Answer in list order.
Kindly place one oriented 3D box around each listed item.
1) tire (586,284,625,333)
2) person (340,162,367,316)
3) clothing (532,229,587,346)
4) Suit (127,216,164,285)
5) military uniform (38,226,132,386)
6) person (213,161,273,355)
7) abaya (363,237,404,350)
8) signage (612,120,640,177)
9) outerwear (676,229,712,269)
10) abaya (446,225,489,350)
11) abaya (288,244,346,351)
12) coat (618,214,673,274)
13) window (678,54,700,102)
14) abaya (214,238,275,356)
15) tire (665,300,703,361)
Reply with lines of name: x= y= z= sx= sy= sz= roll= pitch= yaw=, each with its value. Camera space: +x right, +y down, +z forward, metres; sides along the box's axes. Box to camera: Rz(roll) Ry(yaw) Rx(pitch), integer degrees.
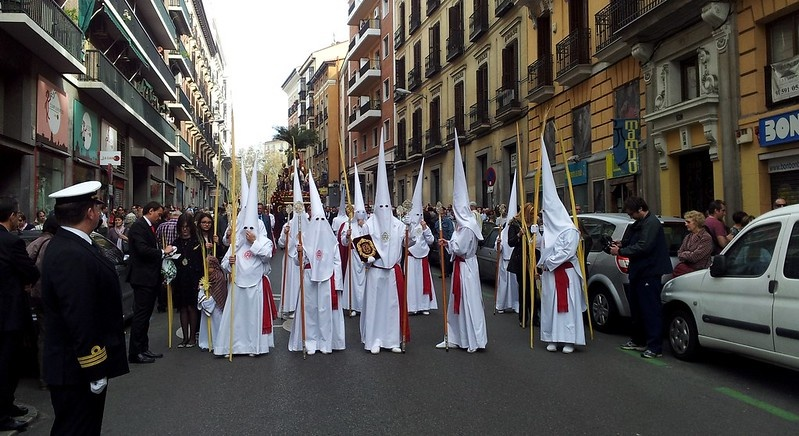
tire: x=5.178 y=2.285 z=15.271 sx=0.365 sy=1.044 sz=1.022 roll=3 pitch=-7 yaw=-12
person: x=-1.365 y=0.644 z=16.620 sx=0.658 sy=3.008 sz=0.519 roll=-1 pitch=21 yaw=-1
clothing: x=3.840 y=1.674 z=14.299 sx=1.103 sy=2.806 sz=0.789 roll=2 pitch=13 yaw=12
Suit: x=-5.949 y=0.823 z=14.325 sx=0.839 sy=1.546 sz=1.163 roll=3 pitch=-4 yaw=-10
military uniform: x=-5.484 y=1.497 z=10.623 sx=1.234 sy=2.500 sz=2.571 roll=-4 pitch=3 yaw=-31
person: x=-3.701 y=1.117 z=14.689 sx=1.397 sy=4.289 sz=1.132 roll=2 pitch=-14 yaw=-9
abaya: x=-0.386 y=2.101 z=14.526 sx=0.950 sy=1.914 sz=0.961 roll=0 pitch=13 yaw=0
signage: x=8.454 y=-2.649 z=22.559 sx=0.984 sy=2.083 sz=0.047 roll=1 pitch=-9 yaw=6
outerwear: x=6.904 y=0.744 z=14.179 sx=0.546 sy=0.937 sz=0.695 roll=13 pitch=-9 yaw=-12
abaya: x=1.655 y=1.602 z=14.922 sx=1.227 sy=2.829 sz=1.326 roll=5 pitch=-9 yaw=-15
abaya: x=-1.950 y=2.077 z=14.425 sx=1.257 sy=2.033 sz=0.940 roll=-2 pitch=13 yaw=-9
coat: x=5.803 y=0.678 z=14.449 sx=1.266 sy=1.434 sz=1.216 roll=-1 pitch=-3 yaw=7
window: x=10.079 y=-4.753 z=21.307 sx=0.105 sy=1.605 sz=0.576 roll=8 pitch=7 yaw=17
abaya: x=-3.622 y=1.824 z=14.190 sx=1.361 sy=2.614 sz=1.039 roll=-3 pitch=13 yaw=-12
tire: x=6.395 y=2.481 z=13.558 sx=0.402 sy=1.278 sz=1.240 roll=3 pitch=4 yaw=-20
